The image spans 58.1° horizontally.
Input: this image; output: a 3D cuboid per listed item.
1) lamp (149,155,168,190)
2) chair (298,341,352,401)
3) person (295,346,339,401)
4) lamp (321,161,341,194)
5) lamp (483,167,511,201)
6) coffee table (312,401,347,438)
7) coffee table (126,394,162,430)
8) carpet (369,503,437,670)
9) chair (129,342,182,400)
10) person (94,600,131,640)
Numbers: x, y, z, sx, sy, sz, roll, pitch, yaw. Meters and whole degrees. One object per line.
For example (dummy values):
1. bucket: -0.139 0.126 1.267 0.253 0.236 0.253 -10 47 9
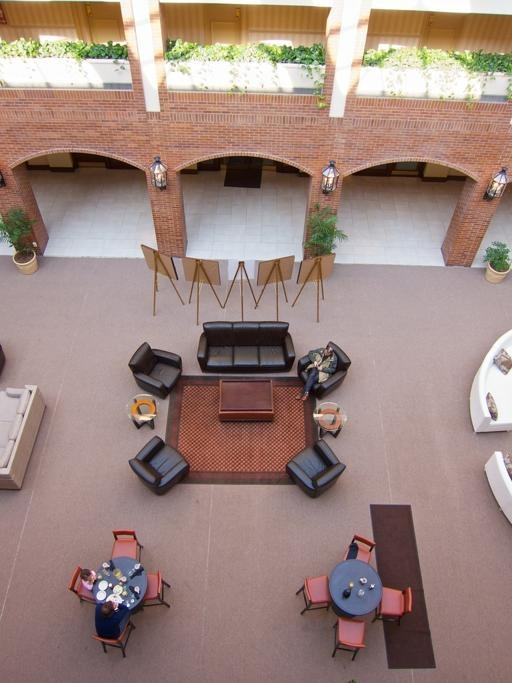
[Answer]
1. lamp: -2.383 -4.076 11.365 0.360 0.932 0.560 -10 43 -11
2. chair: 1.518 0.645 10.343 1.064 0.939 1.094 -8 41 -11
3. person: 1.303 0.655 10.171 0.798 0.782 1.303 21 45 29
4. lamp: 1.863 -4.058 11.619 0.435 0.981 0.688 6 42 6
5. lamp: 6.075 -3.925 11.643 0.421 1.005 0.620 18 45 19
6. coffee table: 1.553 1.684 9.867 0.676 0.497 0.671 0 66 -2
7. coffee table: -2.364 1.515 9.790 0.646 0.622 0.633 -5 81 -6
8. carpet: 2.542 4.064 8.181 0.807 0.039 2.726 -1 37 9
9. chair: -2.204 0.699 10.301 1.058 0.880 1.020 4 55 2
10. person: -2.023 3.912 6.441 0.409 0.987 0.404 -4 42 -5
